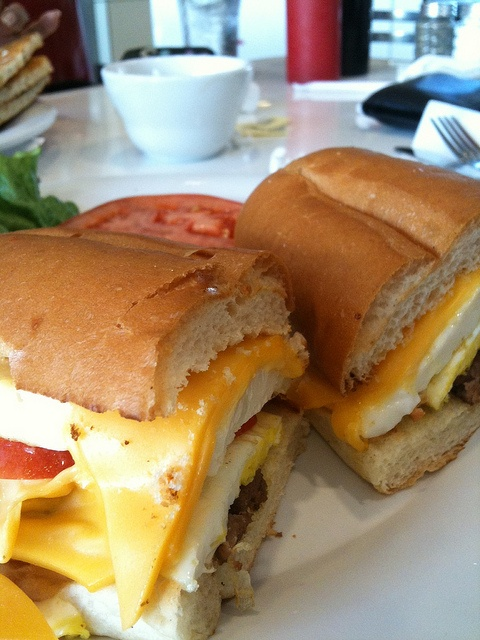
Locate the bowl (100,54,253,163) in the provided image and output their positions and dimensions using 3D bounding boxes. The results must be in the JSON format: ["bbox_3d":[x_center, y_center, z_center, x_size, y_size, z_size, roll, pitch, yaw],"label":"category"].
[{"bbox_3d":[-0.167,-0.531,1.659,0.389,0.216,0.351,-7,25,-11],"label":"bowl"}]
